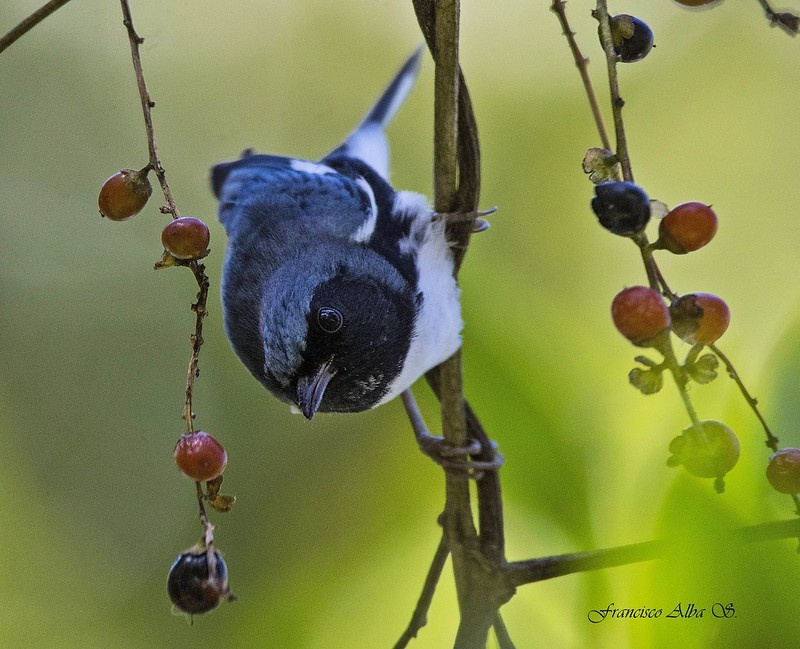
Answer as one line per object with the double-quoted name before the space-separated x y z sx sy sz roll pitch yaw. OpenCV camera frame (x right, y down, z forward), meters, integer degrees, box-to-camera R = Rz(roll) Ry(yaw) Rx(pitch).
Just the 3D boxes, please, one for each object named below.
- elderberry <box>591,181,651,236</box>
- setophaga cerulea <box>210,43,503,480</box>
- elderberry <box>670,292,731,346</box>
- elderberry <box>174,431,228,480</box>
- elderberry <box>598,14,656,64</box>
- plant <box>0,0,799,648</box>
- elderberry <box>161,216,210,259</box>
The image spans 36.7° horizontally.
"elderberry" 0.339 -0.180 1.843 0.076 0.082 0.044 -33 -13 -10
"setophaga cerulea" -0.096 -0.048 2.422 0.305 1.096 0.473 -27 -53 23
"elderberry" 0.466 -0.008 1.871 0.086 0.079 0.068 5 -18 -7
"elderberry" -0.338 0.225 2.041 0.086 0.080 0.068 2 -6 -7
"elderberry" 0.374 -0.474 1.971 0.059 0.079 0.068 -18 -57 -33
"plant" 0.086 -0.135 2.353 1.169 1.339 1.119 -13 -41 19
"elderberry" -0.365 -0.137 2.027 0.061 0.069 0.060 -14 -14 37
